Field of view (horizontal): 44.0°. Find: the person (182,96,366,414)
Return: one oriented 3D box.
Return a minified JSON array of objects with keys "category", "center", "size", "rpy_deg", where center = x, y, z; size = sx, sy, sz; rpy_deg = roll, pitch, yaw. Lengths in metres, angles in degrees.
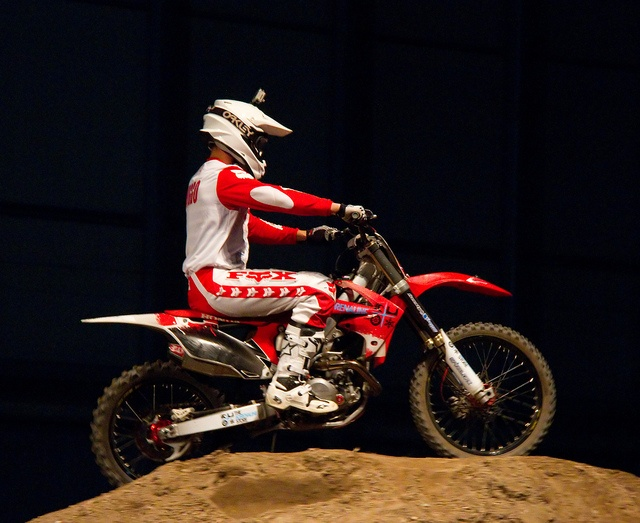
[{"category":"person","center":[-0.386,-0.088,5.206],"size":[0.995,2.149,0.709],"rpy_deg":[3,-13,-8]}]

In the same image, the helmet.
[{"category":"helmet","center":[-0.559,-0.891,5.391],"size":[0.686,0.499,0.402],"rpy_deg":[18,10,-38]}]

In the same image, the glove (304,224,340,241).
[{"category":"glove","center":[0.024,-0.187,5.280],"size":[0.303,0.082,0.081],"rpy_deg":[-7,0,41]}]

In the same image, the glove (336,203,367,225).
[{"category":"glove","center":[0.202,-0.297,5.006],"size":[0.154,0.071,0.123],"rpy_deg":[18,1,32]}]
